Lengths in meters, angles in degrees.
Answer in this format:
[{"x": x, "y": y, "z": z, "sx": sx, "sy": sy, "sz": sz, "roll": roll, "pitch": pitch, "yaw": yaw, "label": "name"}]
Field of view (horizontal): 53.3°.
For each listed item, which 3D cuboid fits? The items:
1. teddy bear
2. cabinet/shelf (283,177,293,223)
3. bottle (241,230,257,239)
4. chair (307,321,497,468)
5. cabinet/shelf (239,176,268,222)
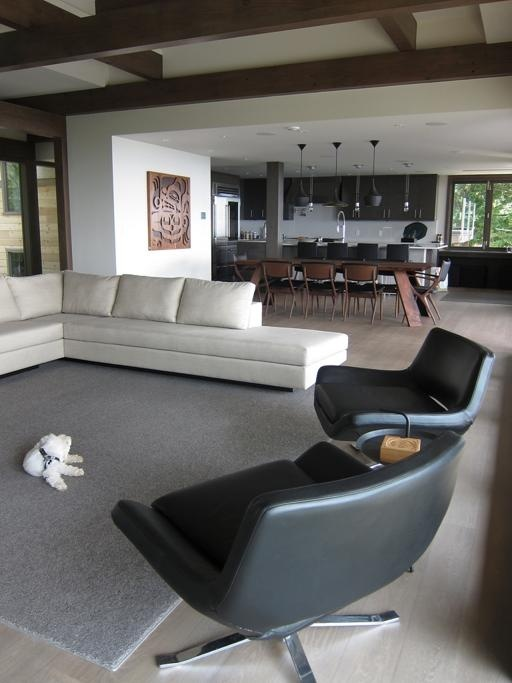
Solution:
[{"x": -1.038, "y": 0.581, "z": 2.598, "sx": 0.314, "sy": 0.132, "sz": 0.345, "roll": 16, "pitch": 22, "yaw": -28, "label": "teddy bear"}, {"x": 0.774, "y": -3.475, "z": 12.396, "sx": 0.269, "sy": 0.967, "sz": 0.621, "roll": -1, "pitch": 11, "yaw": 3, "label": "cabinet/shelf"}, {"x": -0.183, "y": -2.570, "z": 12.331, "sx": 0.231, "sy": 0.158, "sz": 0.389, "roll": 2, "pitch": 9, "yaw": 11, "label": "bottle"}, {"x": 0.580, "y": 0.404, "z": 2.622, "sx": 0.834, "sy": 0.751, "sz": 0.856, "roll": 3, "pitch": 13, "yaw": -2, "label": "chair"}, {"x": -0.084, "y": -3.550, "z": 12.772, "sx": 0.617, "sy": 1.047, "sz": 0.358, "roll": 0, "pitch": 11, "yaw": 7, "label": "cabinet/shelf"}]
